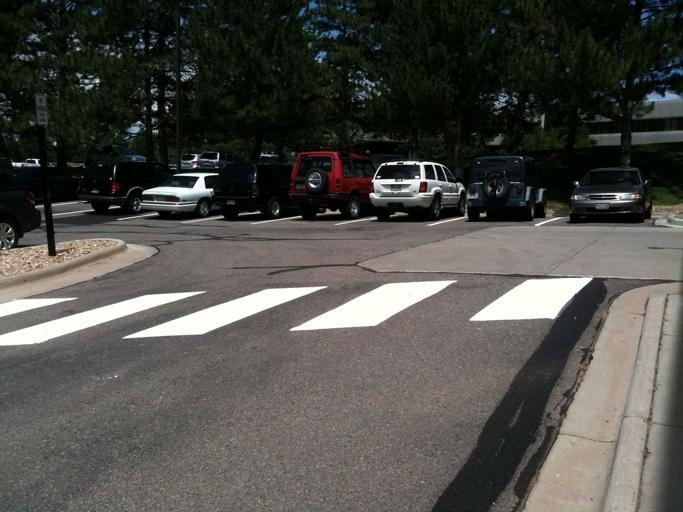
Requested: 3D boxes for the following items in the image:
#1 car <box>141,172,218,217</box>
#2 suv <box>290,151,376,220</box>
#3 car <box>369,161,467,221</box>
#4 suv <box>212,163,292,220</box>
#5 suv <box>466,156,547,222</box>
[{"bbox_3d":[-6.005,-2.342,22.817,1.340,1.171,3.471,7,19,15],"label":"car"},{"bbox_3d":[-0.214,-2.831,22.306,1.631,2.063,3.334,3,13,22],"label":"suv"},{"bbox_3d":[2.949,-2.416,21.837,1.660,1.614,3.398,3,11,27],"label":"car"},{"bbox_3d":[-3.270,-2.398,21.838,1.461,1.560,3.065,3,13,25],"label":"suv"},{"bbox_3d":[5.557,-2.255,20.198,2.635,2.209,1.412,-4,9,-15],"label":"suv"}]
